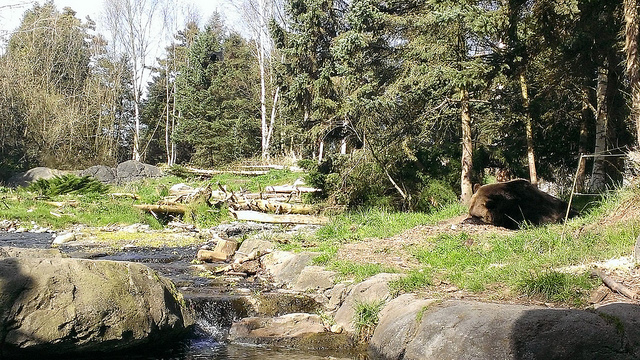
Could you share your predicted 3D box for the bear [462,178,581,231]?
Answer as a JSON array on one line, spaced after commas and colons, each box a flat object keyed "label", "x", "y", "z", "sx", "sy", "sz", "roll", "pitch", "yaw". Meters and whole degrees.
[{"label": "bear", "x": 8.777, "y": 1.068, "z": 30.839, "sx": 4.107, "sy": 2.233, "sz": 1.135, "roll": 1, "pitch": 0, "yaw": 8}]

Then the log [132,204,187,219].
[{"label": "log", "x": -8.813, "y": 1.791, "z": 38.201, "sx": 2.890, "sy": 0.803, "sz": 0.666, "roll": 1, "pitch": 0, "yaw": 24}]

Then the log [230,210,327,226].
[{"label": "log", "x": -2.127, "y": 2.023, "z": 36.967, "sx": 4.896, "sy": 0.768, "sz": 0.824, "roll": 1, "pitch": 0, "yaw": 7}]

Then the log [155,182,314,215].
[{"label": "log", "x": -3.944, "y": 1.348, "z": 38.287, "sx": 7.338, "sy": 1.530, "sz": 1.822, "roll": 2, "pitch": 0, "yaw": 1}]

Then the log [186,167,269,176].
[{"label": "log", "x": -7.332, "y": -0.536, "z": 52.415, "sx": 6.596, "sy": 0.601, "sz": 1.279, "roll": 1, "pitch": -1, "yaw": 28}]
